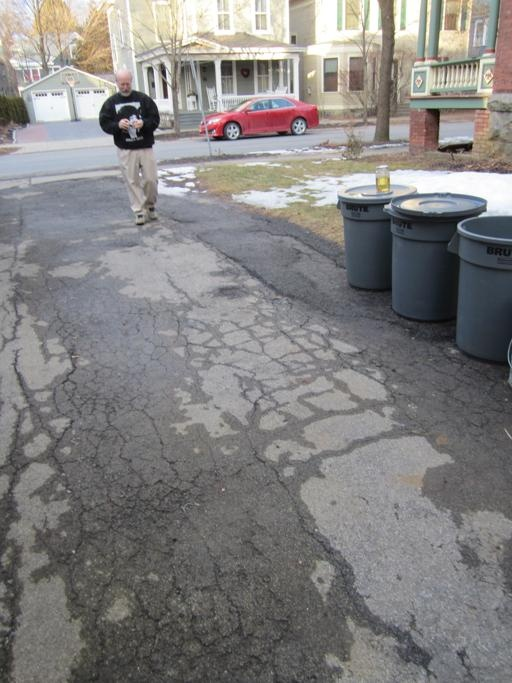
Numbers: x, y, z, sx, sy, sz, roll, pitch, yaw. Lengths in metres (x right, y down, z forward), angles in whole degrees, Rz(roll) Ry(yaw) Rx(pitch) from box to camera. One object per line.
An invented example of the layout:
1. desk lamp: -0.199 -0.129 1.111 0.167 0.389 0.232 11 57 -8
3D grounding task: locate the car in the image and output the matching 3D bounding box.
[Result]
1. car: 0.345 -10.210 21.394 5.043 1.721 0.738 -11 25 -19

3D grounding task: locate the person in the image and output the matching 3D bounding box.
1. person: -1.898 -2.924 7.272 0.847 2.204 0.983 -6 24 -8
